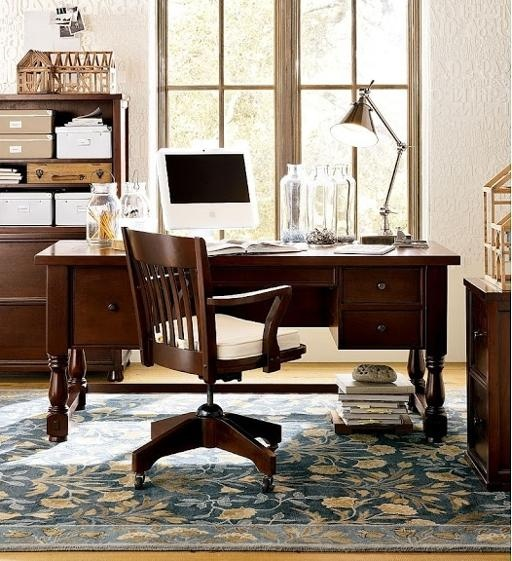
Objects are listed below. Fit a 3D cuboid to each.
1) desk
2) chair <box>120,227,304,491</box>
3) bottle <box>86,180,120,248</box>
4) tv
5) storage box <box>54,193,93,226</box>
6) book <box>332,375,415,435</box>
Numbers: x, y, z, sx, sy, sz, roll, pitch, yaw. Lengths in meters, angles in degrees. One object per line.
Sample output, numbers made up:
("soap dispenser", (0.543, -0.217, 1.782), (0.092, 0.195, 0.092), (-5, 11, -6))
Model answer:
("desk", (-0.047, 0.250, 2.594), (1.585, 0.648, 0.640), (1, -6, -3))
("chair", (-0.136, 0.242, 2.107), (0.654, 0.754, 0.614), (4, 0, 33))
("bottle", (-0.664, -0.293, 2.681), (0.143, 0.283, 0.185), (-2, 4, -22))
("tv", (-0.224, -0.423, 2.800), (0.449, 0.378, 0.222), (-1, 4, -8))
("storage box", (-1.034, -0.407, 3.514), (0.275, 0.172, 0.252), (0, 0, -7))
("book", (0.478, 0.518, 2.491), (0.282, 0.148, 0.267), (0, 5, 15))
